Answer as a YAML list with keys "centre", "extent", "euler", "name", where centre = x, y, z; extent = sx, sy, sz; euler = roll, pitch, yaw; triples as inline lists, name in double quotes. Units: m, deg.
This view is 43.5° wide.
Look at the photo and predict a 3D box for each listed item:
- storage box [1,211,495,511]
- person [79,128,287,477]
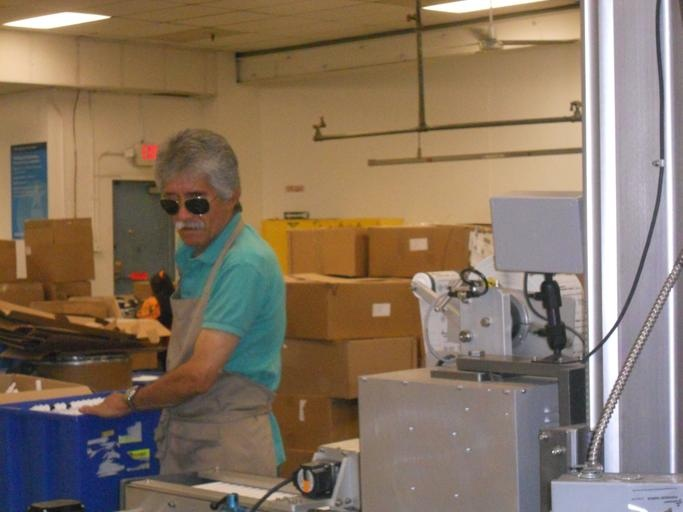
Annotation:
- centre: [0.056, 0.476, 5.049]
  extent: [1.503, 1.000, 1.545]
  euler: [2, 5, 16]
  name: "storage box"
- centre: [-0.429, 0.146, 2.571]
  extent: [0.511, 0.725, 0.379]
  euler: [-3, -1, -5]
  name: "person"
